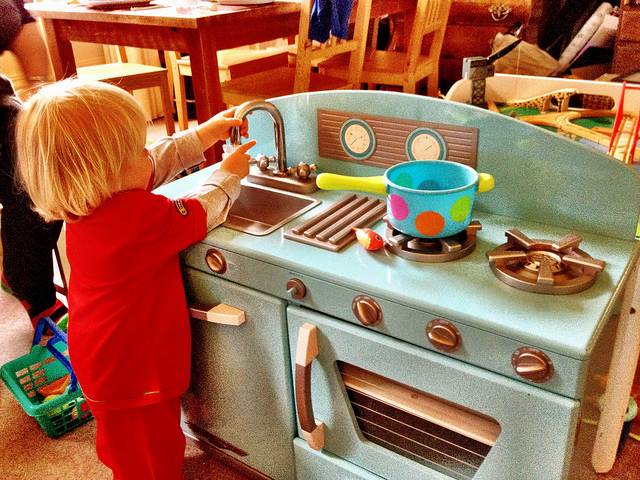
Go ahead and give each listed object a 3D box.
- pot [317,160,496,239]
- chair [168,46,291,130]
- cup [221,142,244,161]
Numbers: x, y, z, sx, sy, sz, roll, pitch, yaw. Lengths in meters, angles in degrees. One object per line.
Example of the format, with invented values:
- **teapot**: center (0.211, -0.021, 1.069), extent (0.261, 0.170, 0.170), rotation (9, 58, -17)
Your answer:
- **pot**: center (0.233, -0.141, 1.217), extent (0.453, 0.213, 0.274), rotation (10, 27, 24)
- **chair**: center (-0.660, -0.969, 3.273), extent (0.447, 0.399, 0.335), rotation (25, 44, 30)
- **cup**: center (-0.239, -0.243, 1.416), extent (0.047, 0.044, 0.042), rotation (-20, 31, -33)
